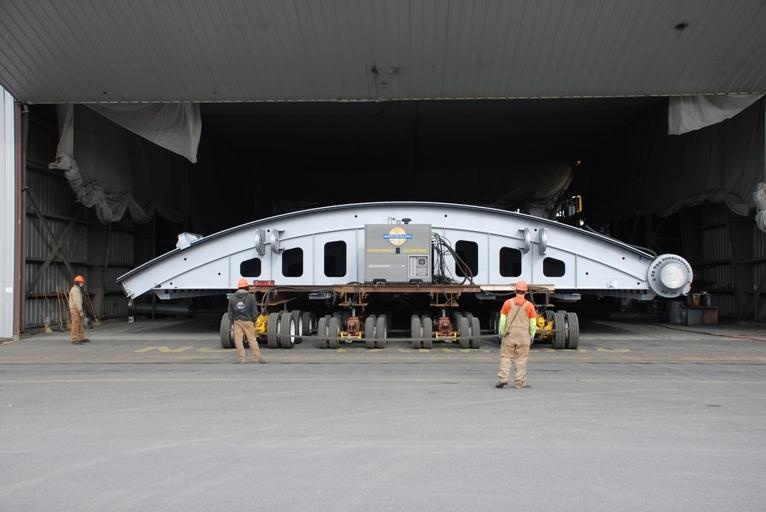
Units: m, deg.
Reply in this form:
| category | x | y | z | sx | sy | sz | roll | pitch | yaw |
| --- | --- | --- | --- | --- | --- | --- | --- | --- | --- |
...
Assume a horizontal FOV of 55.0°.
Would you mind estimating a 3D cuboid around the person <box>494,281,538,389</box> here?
| category | x | y | z | sx | sy | sz | roll | pitch | yaw |
| --- | --- | --- | --- | --- | --- | --- | --- | --- | --- |
| person | 3.520 | 2.087 | 19.636 | 0.967 | 2.665 | 1.245 | 2 | 9 | 11 |

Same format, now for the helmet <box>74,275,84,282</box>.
| category | x | y | z | sx | sy | sz | roll | pitch | yaw |
| --- | --- | --- | --- | --- | --- | --- | --- | --- | --- |
| helmet | -11.830 | 0.866 | 28.525 | 0.435 | 0.250 | 0.327 | -7 | -7 | 28 |

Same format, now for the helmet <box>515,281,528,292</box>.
| category | x | y | z | sx | sy | sz | roll | pitch | yaw |
| --- | --- | --- | --- | --- | --- | --- | --- | --- | --- |
| helmet | 3.774 | 0.828 | 20.196 | 0.410 | 0.252 | 0.600 | 0 | 1 | 5 |

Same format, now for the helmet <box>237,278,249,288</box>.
| category | x | y | z | sx | sy | sz | roll | pitch | yaw |
| --- | --- | --- | --- | --- | --- | --- | --- | --- | --- |
| helmet | -4.441 | 0.788 | 23.118 | 0.379 | 0.281 | 0.516 | 0 | -6 | 0 |

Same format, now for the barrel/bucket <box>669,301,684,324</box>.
| category | x | y | z | sx | sy | sz | roll | pitch | yaw |
| --- | --- | --- | --- | --- | --- | --- | --- | --- | --- |
| barrel/bucket | 13.657 | 2.631 | 34.388 | 0.523 | 0.894 | 0.989 | 2 | 9 | 12 |
